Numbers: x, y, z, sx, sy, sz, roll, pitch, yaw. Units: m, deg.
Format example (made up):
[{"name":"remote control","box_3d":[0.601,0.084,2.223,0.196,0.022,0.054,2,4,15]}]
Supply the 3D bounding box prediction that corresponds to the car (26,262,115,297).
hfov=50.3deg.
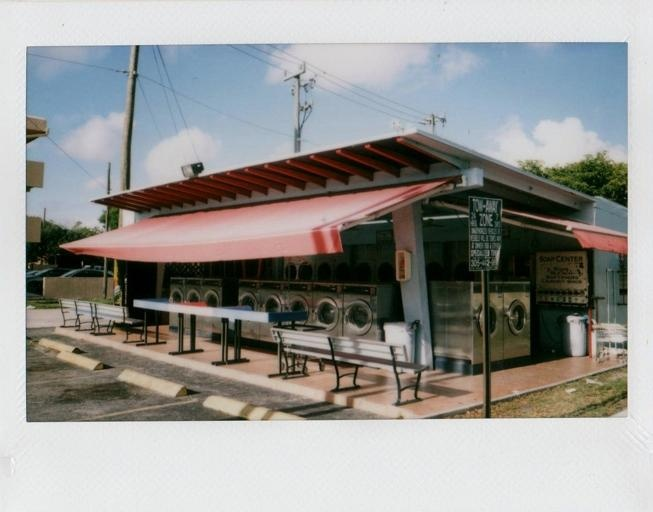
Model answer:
[{"name":"car","box_3d":[-11.911,0.858,30.586,2.371,1.674,4.779,5,2,35]}]

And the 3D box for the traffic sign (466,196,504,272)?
[{"name":"traffic sign","box_3d":[2.333,-0.327,10.347,0.719,1.118,0.312,2,-3,-35]}]

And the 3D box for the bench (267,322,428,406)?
[{"name":"bench","box_3d":[0.364,1.871,12.404,1.887,1.136,3.551,2,-3,-36]}]
